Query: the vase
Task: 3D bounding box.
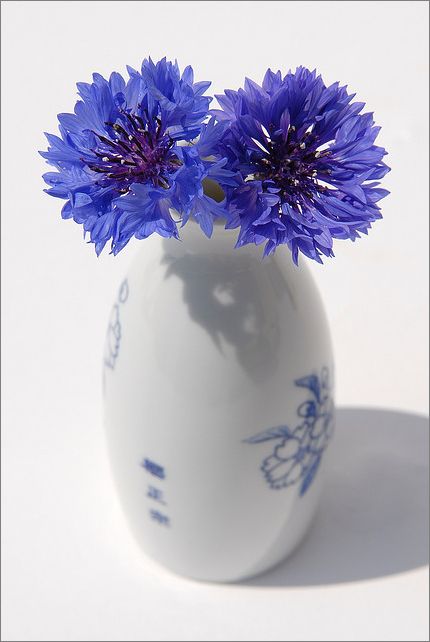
[{"bbox_3d":[0.003,0.059,0.670,0.219,0.211,0.336,5,-71,20],"label":"vase"}]
